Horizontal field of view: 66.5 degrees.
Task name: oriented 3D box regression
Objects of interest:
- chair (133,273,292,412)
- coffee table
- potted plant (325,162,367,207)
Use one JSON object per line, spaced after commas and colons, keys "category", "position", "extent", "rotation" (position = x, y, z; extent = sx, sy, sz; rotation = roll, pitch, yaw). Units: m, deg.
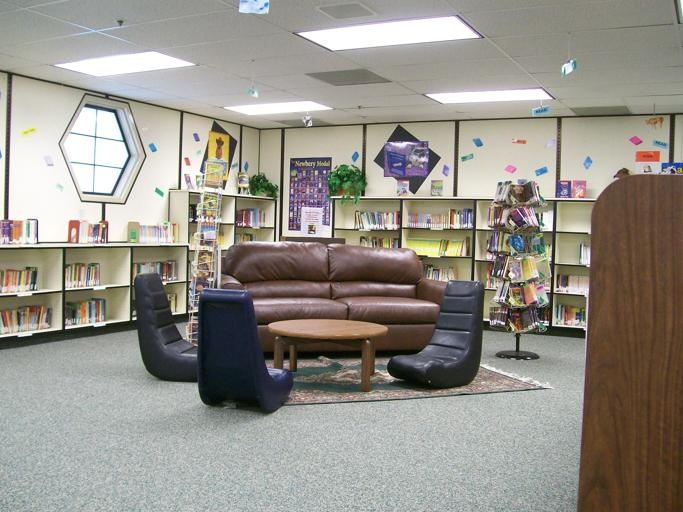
{"category": "chair", "position": [-1.073, 0.665, 4.177], "extent": [0.628, 0.957, 1.486], "rotation": [0, 3, -43]}
{"category": "coffee table", "position": [-0.143, 0.897, 4.770], "extent": [1.137, 0.472, 1.133], "rotation": [1, -1, 40]}
{"category": "potted plant", "position": [0.098, -1.225, 8.773], "extent": [0.710, 0.584, 0.656], "rotation": [3, 1, 13]}
